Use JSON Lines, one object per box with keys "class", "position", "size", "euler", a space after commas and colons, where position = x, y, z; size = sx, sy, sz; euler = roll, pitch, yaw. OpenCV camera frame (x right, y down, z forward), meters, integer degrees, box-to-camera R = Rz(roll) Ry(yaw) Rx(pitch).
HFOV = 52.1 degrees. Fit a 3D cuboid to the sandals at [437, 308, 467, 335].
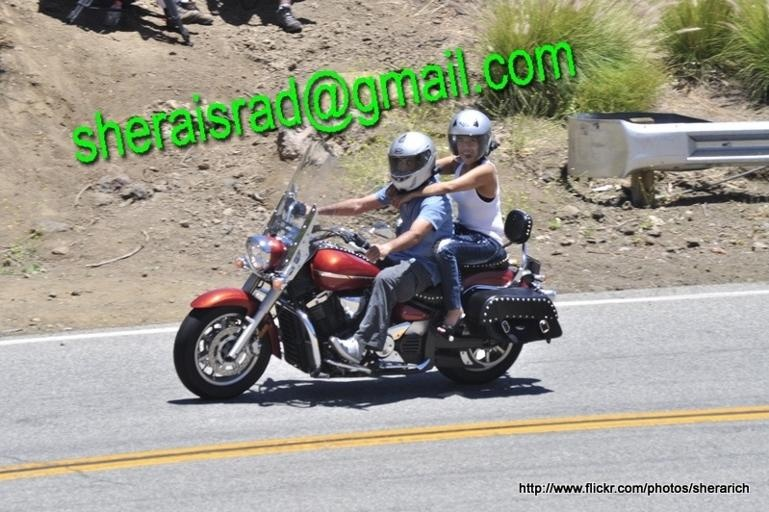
{"class": "sandals", "position": [0.658, 0.651, 7.723], "size": [0.421, 0.150, 0.201], "euler": [-14, 29, -23]}
